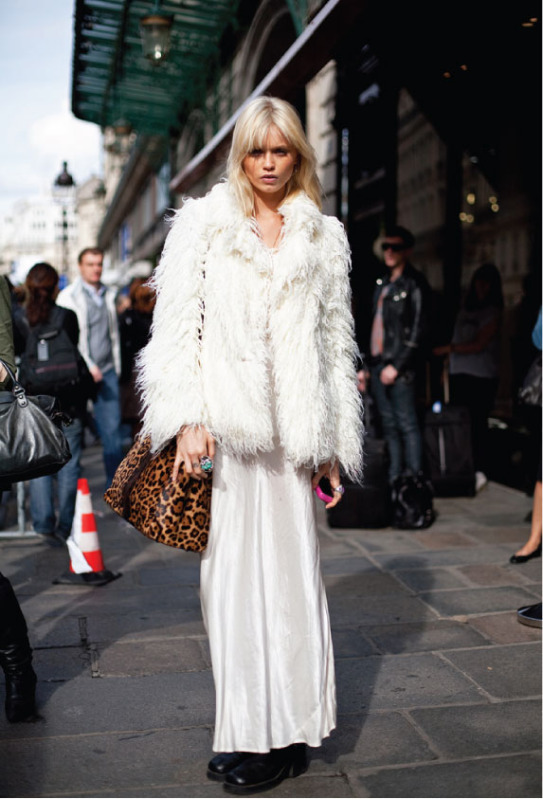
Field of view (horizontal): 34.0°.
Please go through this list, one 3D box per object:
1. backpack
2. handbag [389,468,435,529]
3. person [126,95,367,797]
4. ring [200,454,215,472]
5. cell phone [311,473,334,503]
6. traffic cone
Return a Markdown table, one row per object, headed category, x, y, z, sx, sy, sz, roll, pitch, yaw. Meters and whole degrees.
| category | x | y | z | sx | sy | sz | roll | pitch | yaw |
| --- | --- | --- | --- | --- | --- | --- | --- | --- | --- |
| backpack | -1.391 | -0.288 | 5.580 | 0.355 | 0.537 | 0.364 | 0 | 13 | -26 |
| handbag | 0.930 | 0.673 | 5.940 | 0.327 | 0.416 | 0.230 | -2 | -24 | -2 |
| person | -0.040 | 0.091 | 2.650 | 0.607 | 1.894 | 1.051 | 0 | 1 | 1 |
| ring | -0.167 | 0.170 | 2.387 | 0.033 | 0.038 | 0.041 | 0 | -20 | 4 |
| cell phone | 0.147 | 0.261 | 2.648 | 0.056 | 0.078 | 0.021 | -4 | -3 | -33 |
| traffic cone | -0.978 | 0.689 | 4.697 | 0.291 | 0.533 | 0.237 | -1 | 1 | -7 |
